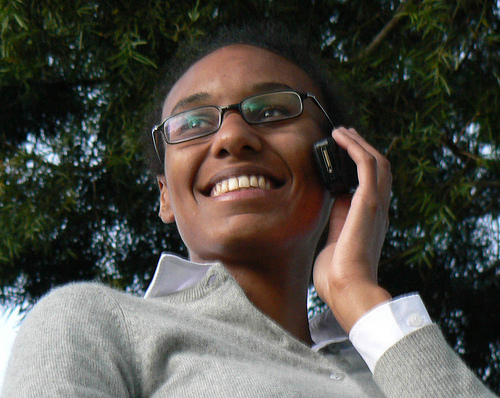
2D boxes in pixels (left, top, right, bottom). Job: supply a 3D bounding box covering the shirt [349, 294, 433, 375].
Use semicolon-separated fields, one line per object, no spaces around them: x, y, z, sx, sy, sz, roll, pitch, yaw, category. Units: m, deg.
0.626;0.575;3.919;0.284;0.290;0.262;-22;80;-50;shirt
